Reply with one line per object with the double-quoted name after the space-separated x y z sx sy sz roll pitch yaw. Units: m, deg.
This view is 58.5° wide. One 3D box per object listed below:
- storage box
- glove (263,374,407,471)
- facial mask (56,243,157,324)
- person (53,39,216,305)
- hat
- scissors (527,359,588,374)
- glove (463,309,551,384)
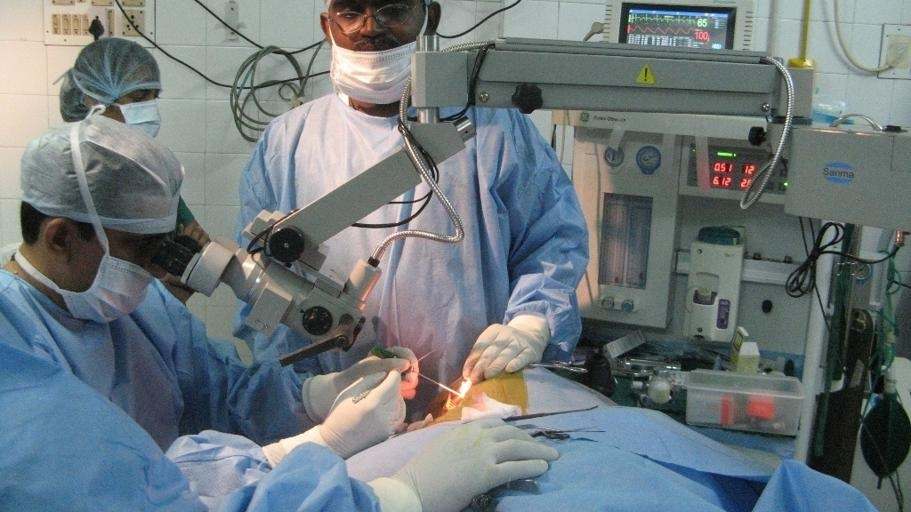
1.170 0.560 3.269 0.405 0.167 0.256 3 9 16 "storage box"
-0.441 0.624 3.042 0.438 0.181 0.273 -30 50 -15 "glove"
-1.273 0.129 3.044 0.277 0.211 0.249 29 7 -15 "facial mask"
-1.716 -0.495 4.388 0.707 1.351 0.611 -4 27 -20 "person"
-1.348 -0.342 3.137 0.583 0.395 0.572 2 9 -9 "hat"
0.413 0.453 3.384 0.102 0.030 0.250 6 0 43 "scissors"
0.239 0.345 3.374 0.348 0.182 0.626 -16 -12 31 "glove"
